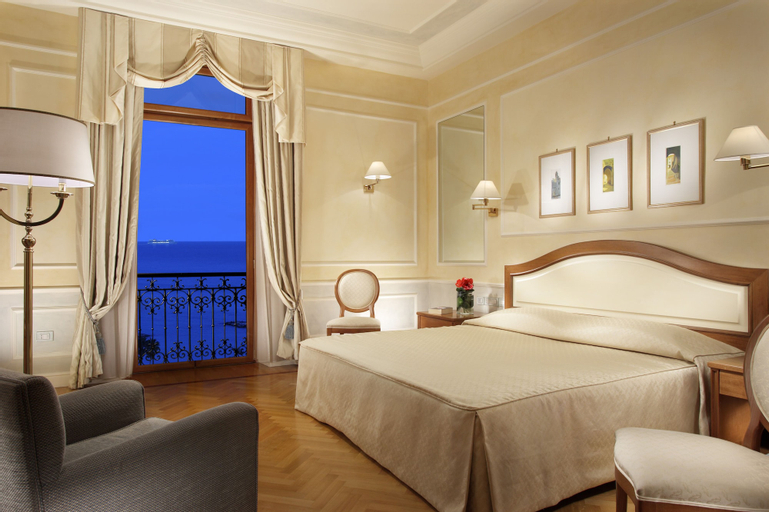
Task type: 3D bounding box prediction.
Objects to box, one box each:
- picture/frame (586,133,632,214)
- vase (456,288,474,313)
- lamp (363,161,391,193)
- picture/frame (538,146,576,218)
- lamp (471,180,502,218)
[{"bbox_3d":[1.958,-0.710,4.660,0.043,0.509,0.399,-2,0,-37],"label":"picture/frame"},{"bbox_3d":[0.838,0.437,5.561,0.217,0.327,0.207,1,-8,-4],"label":"vase"},{"bbox_3d":[-0.096,-0.906,6.219,0.254,0.297,0.323,2,-4,-35],"label":"lamp"},{"bbox_3d":[1.635,-0.691,5.079,0.049,0.519,0.393,-2,0,-34],"label":"picture/frame"},{"bbox_3d":[1.054,-0.611,5.602,0.267,0.372,0.253,0,10,16],"label":"lamp"}]
